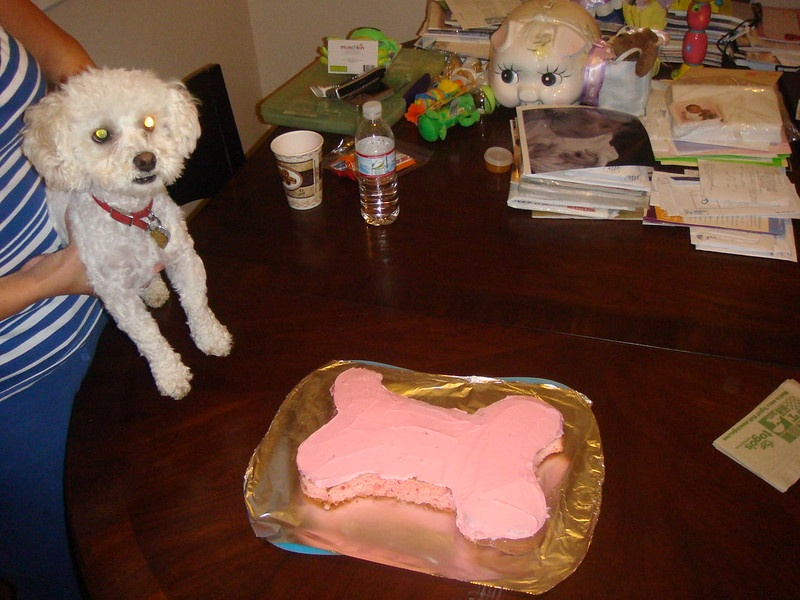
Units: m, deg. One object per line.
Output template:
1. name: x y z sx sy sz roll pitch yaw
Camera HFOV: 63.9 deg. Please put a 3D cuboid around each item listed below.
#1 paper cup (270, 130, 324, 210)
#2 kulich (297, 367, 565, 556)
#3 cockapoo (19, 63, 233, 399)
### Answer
1. paper cup: -0.228 -0.282 1.465 0.110 0.145 0.116 0 35 0
2. kulich: 0.056 0.244 1.020 0.402 0.201 0.298 13 47 5
3. cockapoo: -0.475 -0.118 1.135 0.310 0.469 0.380 -14 40 -14
